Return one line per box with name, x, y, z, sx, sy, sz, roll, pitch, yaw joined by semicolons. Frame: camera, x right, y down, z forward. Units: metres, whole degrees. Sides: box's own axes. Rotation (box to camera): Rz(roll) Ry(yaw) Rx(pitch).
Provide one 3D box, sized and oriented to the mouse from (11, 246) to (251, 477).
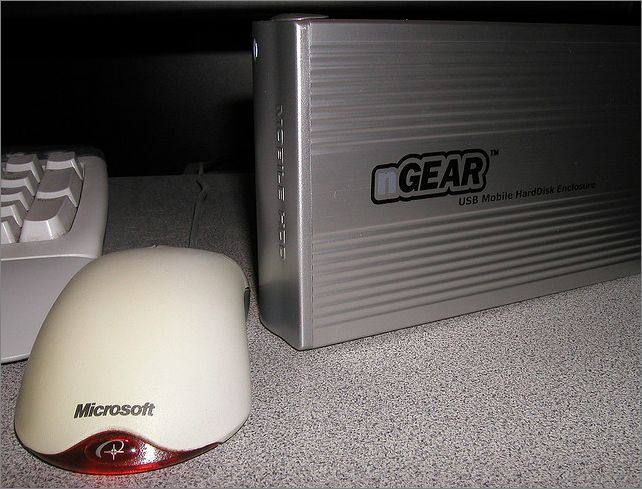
mouse;-0.123;0.056;0.344;0.155;0.065;0.194;1;41;-1
